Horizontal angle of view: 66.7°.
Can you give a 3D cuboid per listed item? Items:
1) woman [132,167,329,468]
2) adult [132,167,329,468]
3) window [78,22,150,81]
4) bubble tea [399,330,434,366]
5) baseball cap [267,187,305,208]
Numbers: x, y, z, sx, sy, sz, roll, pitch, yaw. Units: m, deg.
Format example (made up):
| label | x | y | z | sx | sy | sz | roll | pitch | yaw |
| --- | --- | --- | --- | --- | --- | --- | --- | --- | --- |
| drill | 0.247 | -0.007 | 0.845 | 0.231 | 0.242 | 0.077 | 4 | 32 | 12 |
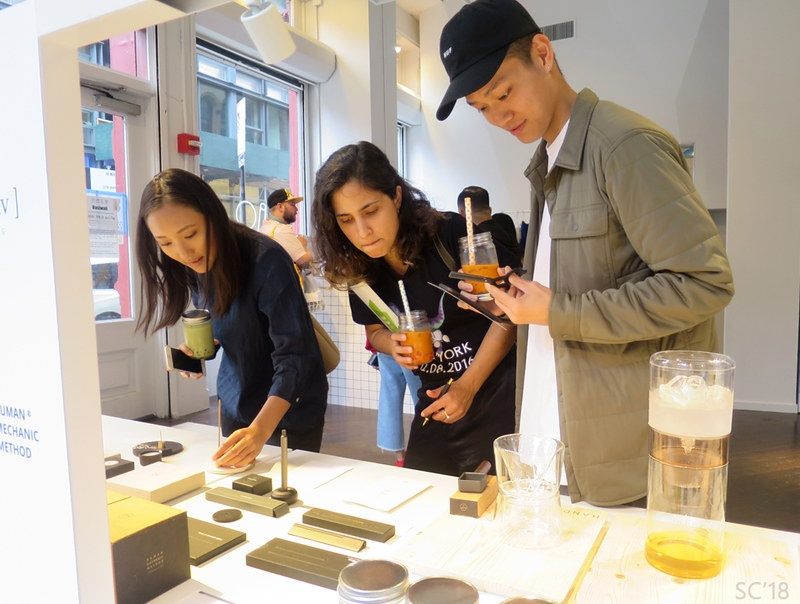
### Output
| label | x | y | z | sx | sy | sz | roll | pitch | yaw |
| --- | --- | --- | --- | --- | --- | --- | --- | --- | --- |
| woman | -0.619 | 0.019 | 2.082 | 0.454 | 1.012 | 0.758 | -6 | 1 | -44 |
| adult | -0.619 | 0.019 | 2.082 | 0.454 | 1.012 | 0.758 | -6 | 1 | -44 |
| window | -2.081 | -1.866 | 4.447 | 0.197 | 0.407 | 0.521 | -5 | 1 | 31 |
| bubble tea | 0.066 | 0.139 | 1.980 | 0.098 | 0.111 | 0.100 | -22 | -5 | 27 |
| baseball cap | -0.974 | -0.904 | 5.305 | 0.301 | 0.175 | 0.197 | -16 | 20 | -20 |
